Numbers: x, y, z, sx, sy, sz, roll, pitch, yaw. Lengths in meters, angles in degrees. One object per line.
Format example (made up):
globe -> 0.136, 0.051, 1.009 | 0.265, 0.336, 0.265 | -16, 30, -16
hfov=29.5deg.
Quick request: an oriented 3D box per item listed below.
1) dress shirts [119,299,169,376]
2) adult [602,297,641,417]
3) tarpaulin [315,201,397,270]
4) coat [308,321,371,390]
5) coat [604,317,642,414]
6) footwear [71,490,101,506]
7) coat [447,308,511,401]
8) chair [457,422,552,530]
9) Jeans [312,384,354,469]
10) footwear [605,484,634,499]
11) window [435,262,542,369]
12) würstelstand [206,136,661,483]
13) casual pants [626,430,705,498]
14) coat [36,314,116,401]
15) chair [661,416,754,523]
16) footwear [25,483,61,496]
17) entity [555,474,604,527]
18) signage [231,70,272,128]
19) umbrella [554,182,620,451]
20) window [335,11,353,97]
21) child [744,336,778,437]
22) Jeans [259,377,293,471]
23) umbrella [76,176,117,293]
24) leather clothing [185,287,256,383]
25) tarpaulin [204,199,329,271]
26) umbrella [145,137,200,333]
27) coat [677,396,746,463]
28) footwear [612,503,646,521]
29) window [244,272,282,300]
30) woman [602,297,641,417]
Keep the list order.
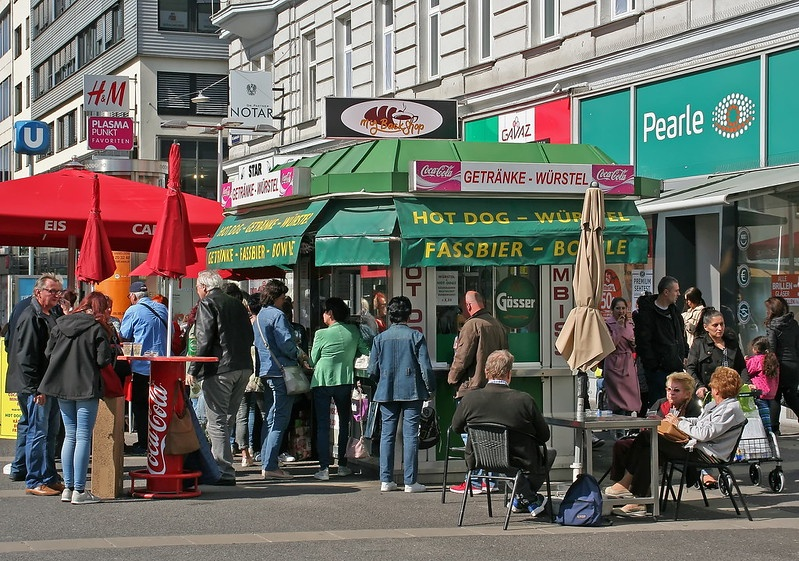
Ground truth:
dress shirts -> -3.618, 0.740, 21.573 | 0.643, 1.034, 0.790 | 9, 14, 26
adult -> 3.220, 1.220, 21.979 | 0.600, 1.771, 0.517 | -9, 6, -39
tarpaulin -> -0.521, -0.596, 20.495 | 1.019, 0.915, 0.770 | 0, -4, 14
coat -> -0.900, 1.025, 20.795 | 1.156, 1.110, 0.760 | -1, 5, -14
coat -> 3.217, 1.352, 21.959 | 0.537, 1.617, 0.407 | -1, -1, -39
footwear -> -3.917, 2.742, 19.035 | 0.332, 0.135, 0.139 | -1, 0, -25
coat -> 0.966, 0.934, 19.979 | 0.618, 1.128, 0.872 | -2, 3, 30
chair -> 1.241, 2.352, 18.590 | 0.867, 1.204, 0.956 | 0, -3, 40
Jeans -> -0.901, 1.934, 20.723 | 0.648, 1.401, 0.468 | -1, 2, -17
footwear -> 2.710, 2.661, 18.959 | 0.258, 0.088, 0.171 | 8, -5, -12
window -> 1.118, 0.508, 20.282 | 1.498, 1.478, 0.071 | 1, -5, -10
würstelstand -> -0.050, -0.263, 22.246 | 5.602, 2.746, 4.855 | -6, -5, 32
casual pants -> 3.244, 2.213, 19.307 | 0.818, 1.064, 1.034 | 10, -4, -12
coat -> -3.919, 0.997, 19.346 | 1.232, 1.390, 0.968 | 1, 0, 4
chair -> 3.795, 2.304, 19.069 | 0.958, 1.134, 0.873 | -2, 5, -14
footwear -> -4.548, 2.709, 19.485 | 0.426, 0.152, 0.154 | -5, -6, 14
entity -> 2.177, 2.725, 18.553 | 0.656, 0.604, 0.483 | 2, -6, -15
signage -> -3.590, -4.375, 36.586 | 1.364, 1.626, 0.194 | -5, 8, -26
umbrella -> 2.301, 0.033, 18.818 | 0.611, 2.524, 0.294 | -2, -6, 27
window -> -1.279, -5.238, 35.497 | 0.159, 1.892, 0.758 | 3, 13, 26
child -> 5.043, 1.567, 21.316 | 0.529, 1.400, 0.525 | -5, 7, -39
Jeans -> -1.692, 1.963, 20.749 | 0.475, 1.437, 0.514 | -5, 16, -24
umbrella -> -4.254, -0.701, 21.193 | 0.417, 1.452, 0.589 | 0, -6, 9
leather clothing -> -2.359, 0.659, 20.370 | 0.609, 1.106, 1.024 | -3, 0, 34
tarpaulin -> -1.944, -0.658, 21.860 | 0.632, 0.800, 2.337 | -8, 2, -42
umbrella -> -2.984, -0.579, 20.035 | 0.627, 2.631, 1.367 | 2, -6, -9
coat -> 3.925, 1.864, 19.064 | 0.823, 0.797, 0.707 | 11, -1, 0
footwear -> 2.849, 2.891, 18.829 | 0.330, 0.127, 0.189 | 2, -3, -11
window -> -3.021, 0.215, 33.135 | 1.100, 0.630, 1.071 | -1, -6, -4
woman -> 3.204, 1.212, 21.953 | 0.601, 1.783, 0.517 | -10, 6, -37
